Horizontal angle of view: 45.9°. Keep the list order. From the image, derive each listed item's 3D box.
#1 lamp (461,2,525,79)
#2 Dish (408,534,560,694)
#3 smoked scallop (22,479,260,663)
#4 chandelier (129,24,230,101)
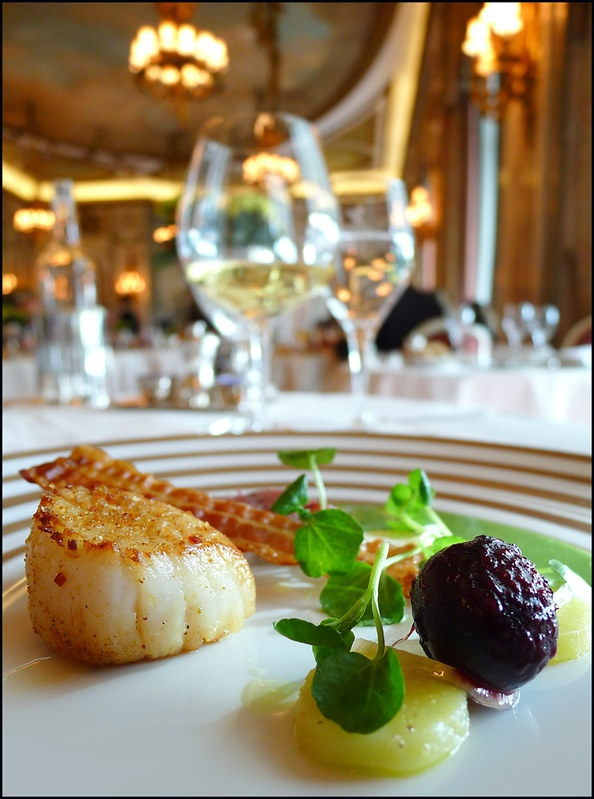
[{"bbox_3d":[1.089,-1.992,3.866,0.312,0.277,0.540,-4,5,-1],"label":"lamp"},{"bbox_3d":[0.071,0.089,0.306,0.052,0.043,0.056,14,31,-13],"label":"Dish"},{"bbox_3d":[-0.073,0.080,0.329,0.099,0.031,0.069,10,21,0],"label":"smoked scallop"},{"bbox_3d":[-0.765,-2.187,4.545,0.590,0.184,0.546,-11,-31,14],"label":"chandelier"}]
